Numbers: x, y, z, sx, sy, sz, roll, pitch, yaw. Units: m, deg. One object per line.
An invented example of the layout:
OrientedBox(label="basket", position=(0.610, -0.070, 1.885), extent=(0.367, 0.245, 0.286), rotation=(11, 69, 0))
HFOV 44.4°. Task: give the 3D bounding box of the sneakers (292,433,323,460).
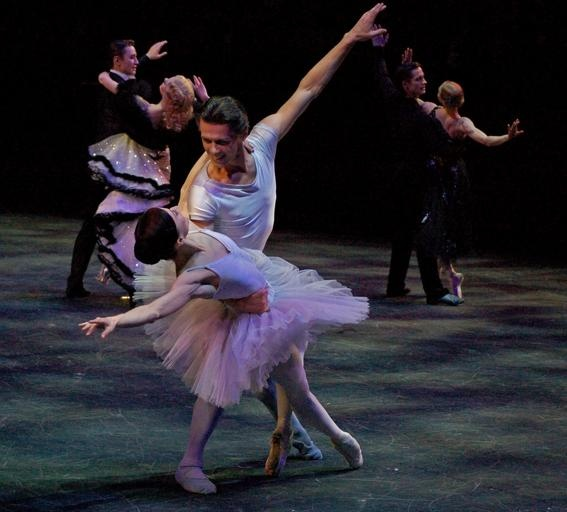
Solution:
OrientedBox(label="sneakers", position=(0.077, 0.682, 2.491), extent=(0.079, 0.065, 0.146), rotation=(-6, -6, 24))

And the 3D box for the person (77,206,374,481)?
OrientedBox(label="person", position=(-0.197, 0.289, 2.193), extent=(0.969, 0.896, 0.377), rotation=(-5, 13, -34))

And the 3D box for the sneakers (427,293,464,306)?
OrientedBox(label="sneakers", position=(1.289, 0.347, 5.535), extent=(0.286, 0.078, 0.093), rotation=(-2, 2, 12))

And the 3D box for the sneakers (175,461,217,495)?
OrientedBox(label="sneakers", position=(-0.275, 0.690, 2.144), extent=(0.144, 0.045, 0.073), rotation=(15, 24, 41))

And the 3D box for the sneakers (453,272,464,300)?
OrientedBox(label="sneakers", position=(1.419, 0.250, 5.622), extent=(0.116, 0.235, 0.112), rotation=(1, 16, 24))
